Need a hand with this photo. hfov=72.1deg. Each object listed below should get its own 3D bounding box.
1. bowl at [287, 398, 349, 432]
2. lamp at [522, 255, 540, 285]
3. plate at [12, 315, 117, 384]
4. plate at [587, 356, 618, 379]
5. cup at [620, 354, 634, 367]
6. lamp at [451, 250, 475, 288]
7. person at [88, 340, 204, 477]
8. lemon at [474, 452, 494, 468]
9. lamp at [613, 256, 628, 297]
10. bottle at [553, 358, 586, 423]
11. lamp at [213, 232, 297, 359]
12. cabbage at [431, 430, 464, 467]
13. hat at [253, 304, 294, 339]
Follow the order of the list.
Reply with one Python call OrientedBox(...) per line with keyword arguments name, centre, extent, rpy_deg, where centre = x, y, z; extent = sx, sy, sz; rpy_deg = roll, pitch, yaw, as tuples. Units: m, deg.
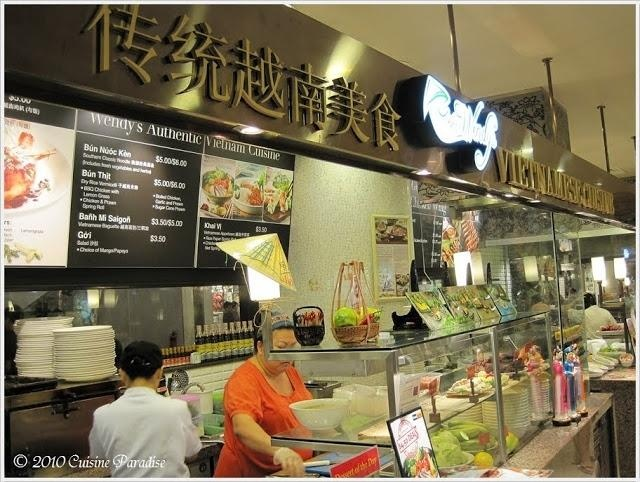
OrientedBox(name="bowl", centre=(-0.006, 0.766, 1.946), extent=(0.258, 0.120, 0.178), rpy_deg=(0, -4, -4))
OrientedBox(name="lamp", centre=(1.961, 0.263, 4.102), extent=(0.157, 0.243, 0.035), rpy_deg=(1, -5, -16))
OrientedBox(name="plate", centre=(-2.015, 0.840, 3.459), extent=(0.532, 0.317, 0.539), rpy_deg=(2, -5, 1))
OrientedBox(name="plate", centre=(3.559, 1.594, 5.561), extent=(0.455, 0.092, 0.342), rpy_deg=(-10, 10, -40))
OrientedBox(name="cup", centre=(4.154, 1.601, 5.947), extent=(0.168, 0.106, 0.173), rpy_deg=(-5, 0, 0))
OrientedBox(name="lamp", centre=(1.262, 0.233, 3.881), extent=(0.152, 0.302, 0.343), rpy_deg=(-2, -5, 19))
OrientedBox(name="person", centre=(-1.075, 1.044, 2.661), extent=(0.657, 0.841, 0.405), rpy_deg=(1, -5, -12))
OrientedBox(name="lemon", centre=(0.888, 1.161, 2.367), extent=(0.085, 0.086, 0.081), rpy_deg=(-1, -9, -4))
OrientedBox(name="lamp", centre=(6.124, 0.763, 8.958), extent=(0.213, 0.798, 0.213), rpy_deg=(-4, -3, 23))
OrientedBox(name="bottle", centre=(1.920, 1.165, 3.408), extent=(0.204, 0.494, 0.443), rpy_deg=(-2, -8, 39))
OrientedBox(name="lamp", centre=(-0.220, 0.162, 2.026), extent=(0.313, 0.451, 0.332), rpy_deg=(-2, -3, 26))
OrientedBox(name="cabbage", centre=(0.645, 1.045, 2.216), extent=(0.057, 0.184, 0.196), rpy_deg=(-34, -55, 28))
OrientedBox(name="hat", centre=(-0.278, 0.509, 2.546), extent=(0.219, 0.200, 0.168), rpy_deg=(-9, -25, 2))
